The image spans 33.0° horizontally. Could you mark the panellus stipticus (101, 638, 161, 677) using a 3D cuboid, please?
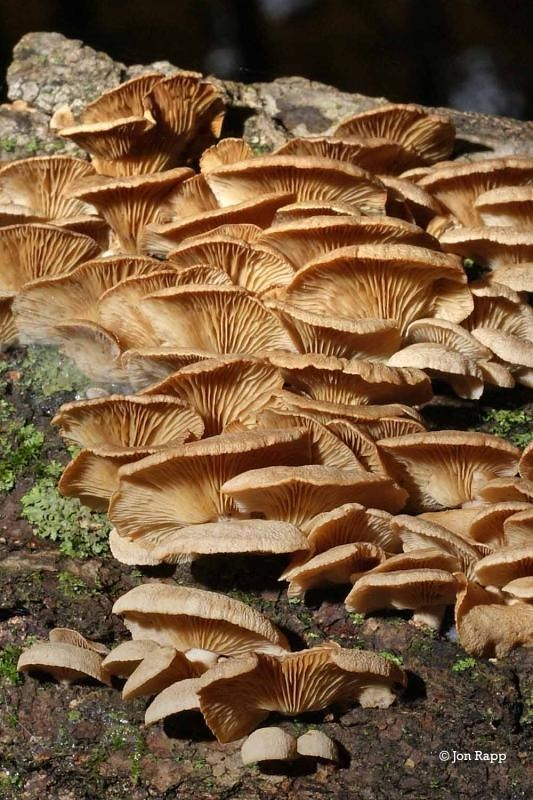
[{"bbox_3d":[-0.712,1.313,4.582,0.253,0.087,0.257,-23,-15,6],"label":"panellus stipticus"}]
